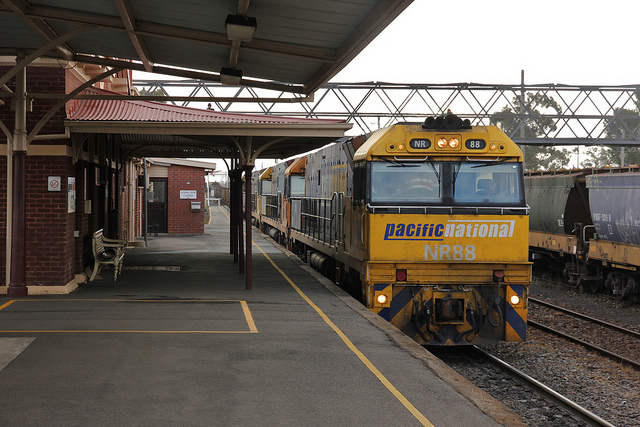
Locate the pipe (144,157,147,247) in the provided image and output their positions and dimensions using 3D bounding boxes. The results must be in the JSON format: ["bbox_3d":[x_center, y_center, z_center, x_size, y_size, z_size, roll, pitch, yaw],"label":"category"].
[{"bbox_3d":[-8.380,-0.687,23.812,0.083,3.807,1.981,1,3,-22],"label":"pipe"}]

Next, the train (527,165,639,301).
[{"bbox_3d":[10.258,0.605,19.341,0.960,4.746,6.155,1,3,-8],"label":"train"}]

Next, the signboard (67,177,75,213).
[{"bbox_3d":[-5.952,-0.433,11.862,0.105,0.828,0.610,1,3,-21],"label":"signboard"}]

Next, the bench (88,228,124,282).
[{"bbox_3d":[-6.182,0.975,14.451,0.911,1.334,2.197,4,11,-21],"label":"bench"}]

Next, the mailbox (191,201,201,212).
[{"bbox_3d":[-7.369,-0.360,29.508,0.626,0.613,0.512,1,0,-1],"label":"mailbox"}]

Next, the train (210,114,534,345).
[{"bbox_3d":[1.203,0.127,14.039,3.066,4.784,9.459,1,3,-19],"label":"train"}]

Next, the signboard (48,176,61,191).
[{"bbox_3d":[-6.169,-0.687,11.480,0.321,0.405,0.039,0,-6,-7],"label":"signboard"}]

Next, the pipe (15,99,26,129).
[{"bbox_3d":[-6.592,-2.189,10.919,0.205,0.692,0.442,0,3,-32],"label":"pipe"}]
